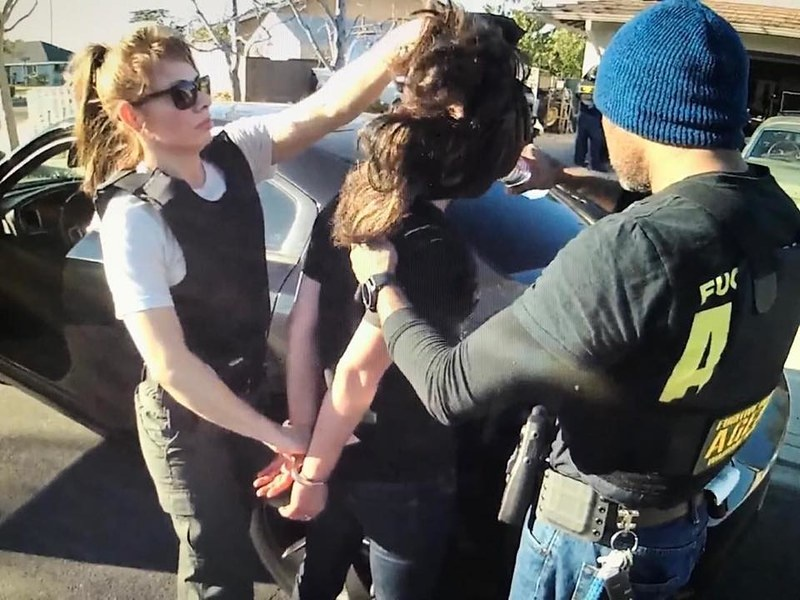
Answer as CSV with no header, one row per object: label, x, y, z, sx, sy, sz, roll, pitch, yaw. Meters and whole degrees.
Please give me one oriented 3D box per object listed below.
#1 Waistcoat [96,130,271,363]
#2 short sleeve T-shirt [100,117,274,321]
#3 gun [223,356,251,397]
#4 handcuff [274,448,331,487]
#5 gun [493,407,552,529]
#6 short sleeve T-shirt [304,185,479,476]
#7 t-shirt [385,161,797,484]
Waistcoat,-0.583,-0.161,1.829,0.288,0.622,0.411,-2,31,26
short sleeve T-shirt,-0.591,-0.220,1.822,0.219,0.370,0.649,15,44,26
gun,-0.482,0.223,1.966,0.025,0.101,0.084,-1,-12,34
handcuff,-0.285,0.504,1.957,0.140,0.060,0.089,35,6,15
gun,0.308,0.409,1.618,0.083,0.355,0.121,17,2,-3
short sleeve T-shirt,0.024,0.096,1.812,0.229,0.735,0.485,-3,17,-37
t-shirt,0.436,0.203,1.768,0.974,0.722,0.639,-5,37,-8
